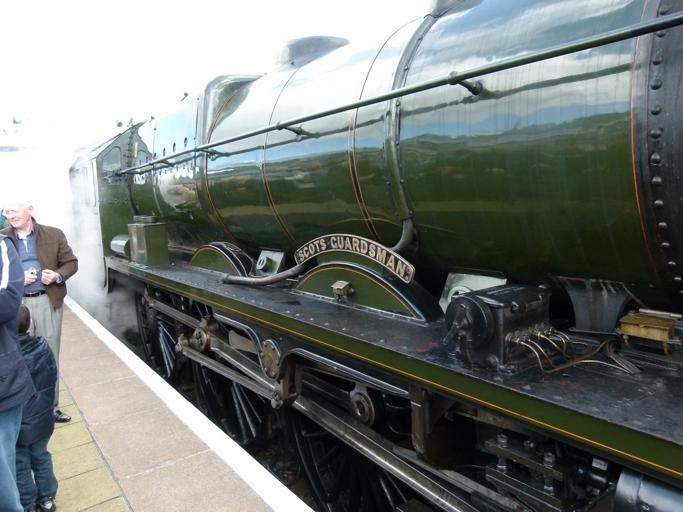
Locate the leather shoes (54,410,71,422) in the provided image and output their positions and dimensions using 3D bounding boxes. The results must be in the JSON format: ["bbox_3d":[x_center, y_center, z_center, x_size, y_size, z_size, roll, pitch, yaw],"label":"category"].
[{"bbox_3d":[-2.540,1.469,3.741,0.189,0.068,0.068,6,6,39],"label":"leather shoes"}]
